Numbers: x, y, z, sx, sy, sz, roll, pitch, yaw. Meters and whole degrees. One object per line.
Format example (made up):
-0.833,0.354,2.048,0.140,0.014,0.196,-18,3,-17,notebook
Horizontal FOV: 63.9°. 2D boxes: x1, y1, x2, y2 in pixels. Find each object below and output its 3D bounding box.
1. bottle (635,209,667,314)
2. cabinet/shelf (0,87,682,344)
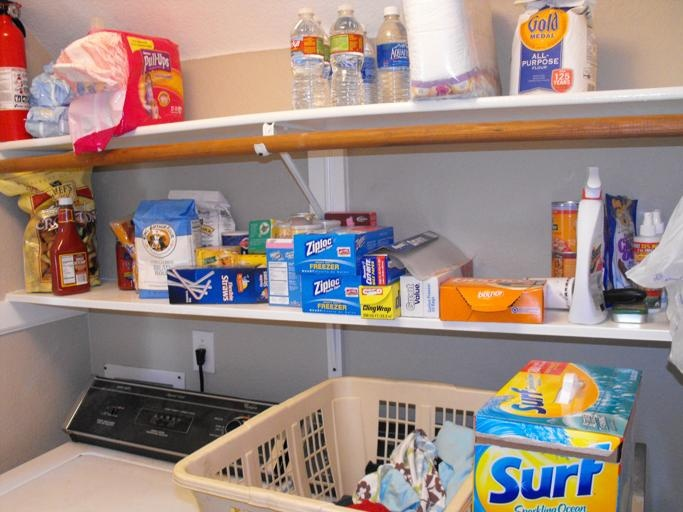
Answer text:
0.784,0.009,1.395,0.069,0.248,0.230,0,8,30,bottle
0.047,-0.064,1.604,1.709,0.704,0.383,-2,8,18,cabinet/shelf
